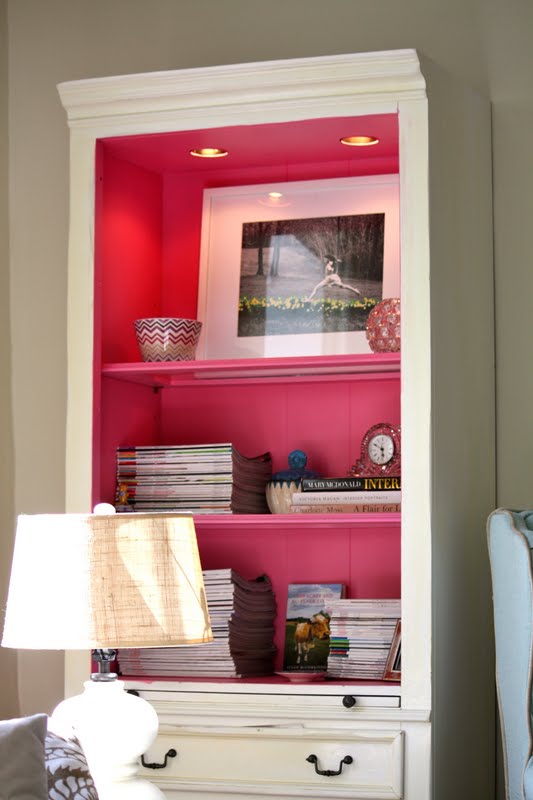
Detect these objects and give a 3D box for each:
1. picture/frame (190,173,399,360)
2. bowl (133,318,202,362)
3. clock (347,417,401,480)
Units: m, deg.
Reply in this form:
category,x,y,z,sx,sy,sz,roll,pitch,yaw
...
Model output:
category,x,y,z,sx,sy,sz,roll,pitch,yaw
picture/frame,0.099,-0.370,2.186,0.571,0.491,0.045,-2,-10,16
bowl,-0.266,-0.147,2.137,0.141,0.088,0.144,-1,-3,0
clock,0.293,0.134,2.061,0.155,0.150,0.052,-4,-12,44
